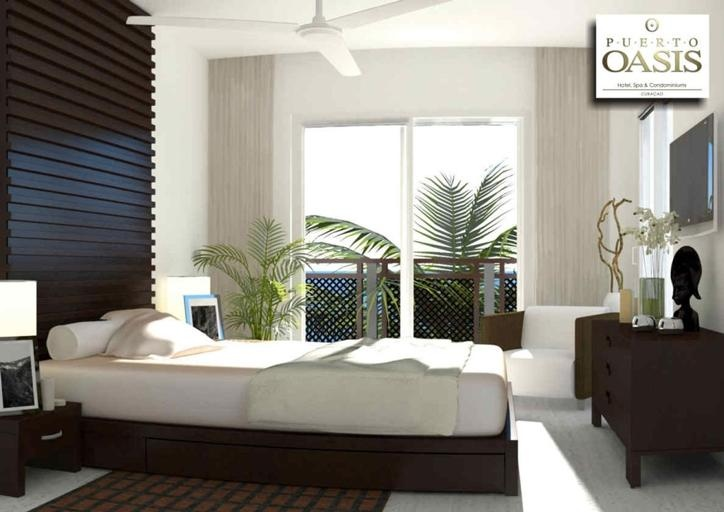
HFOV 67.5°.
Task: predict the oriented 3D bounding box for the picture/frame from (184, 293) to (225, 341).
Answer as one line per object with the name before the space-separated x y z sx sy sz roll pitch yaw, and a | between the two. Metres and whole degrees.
picture/frame | -1.459 0.550 4.962 0.472 0.523 0.045 2 -19 -46

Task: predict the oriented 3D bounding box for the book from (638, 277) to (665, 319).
book | 2.083 0.294 3.896 0.159 0.288 0.158 2 4 25

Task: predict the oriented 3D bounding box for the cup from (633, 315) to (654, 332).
cup | 1.918 0.447 3.681 0.124 0.093 0.100 -2 -6 29

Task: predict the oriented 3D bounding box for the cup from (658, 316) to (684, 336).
cup | 1.999 0.446 3.500 0.112 0.066 0.113 0 -4 0
